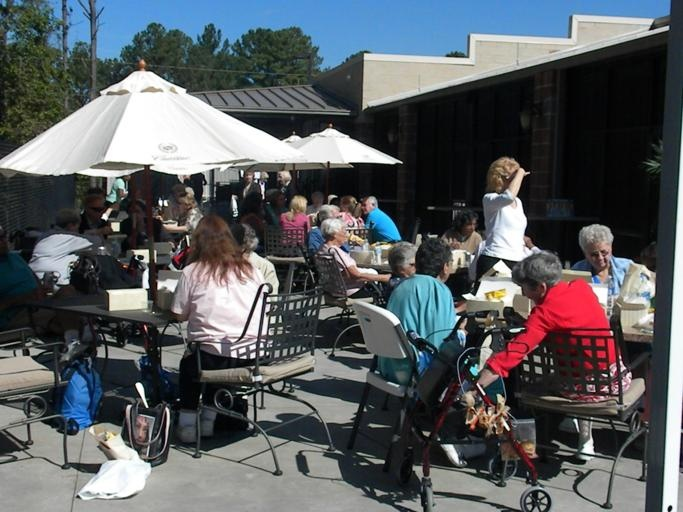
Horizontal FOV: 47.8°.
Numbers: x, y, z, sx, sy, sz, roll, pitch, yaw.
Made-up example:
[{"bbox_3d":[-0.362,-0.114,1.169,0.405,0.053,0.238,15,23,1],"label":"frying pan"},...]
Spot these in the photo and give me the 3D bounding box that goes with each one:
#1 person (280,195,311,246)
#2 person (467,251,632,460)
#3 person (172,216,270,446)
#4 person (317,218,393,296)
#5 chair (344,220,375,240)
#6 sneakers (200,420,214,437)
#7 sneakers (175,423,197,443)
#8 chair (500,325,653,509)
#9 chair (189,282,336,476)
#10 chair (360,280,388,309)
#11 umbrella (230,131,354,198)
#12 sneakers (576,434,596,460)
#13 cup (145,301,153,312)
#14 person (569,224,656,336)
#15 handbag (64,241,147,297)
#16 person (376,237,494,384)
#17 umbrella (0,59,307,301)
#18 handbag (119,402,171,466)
[{"bbox_3d":[-0.672,-0.485,11.142,0.385,0.767,0.468,4,-1,-6],"label":"person"},{"bbox_3d":[1.482,0.725,5.550,1.079,1.532,1.020,-5,7,13],"label":"person"},{"bbox_3d":[-0.920,0.585,5.841,0.680,1.726,0.493,-1,10,-7],"label":"person"},{"bbox_3d":[0.194,0.097,8.601,0.800,1.102,0.573,-5,10,-17],"label":"person"},{"bbox_3d":[0.258,-0.359,11.149,0.267,0.187,0.276,-4,7,-28],"label":"chair"},{"bbox_3d":[-1.028,1.341,5.972,0.104,0.115,0.113,3,16,-2],"label":"sneakers"},{"bbox_3d":[-1.171,1.368,5.872,0.135,0.135,0.137,2,5,17],"label":"sneakers"},{"bbox_3d":[1.679,0.944,5.599,0.883,1.613,1.070,3,12,35],"label":"chair"},{"bbox_3d":[-0.556,0.885,6.437,1.176,1.886,1.157,3,2,34],"label":"chair"},{"bbox_3d":[0.362,0.380,7.484,0.192,0.295,0.246,-4,9,-23],"label":"chair"},{"bbox_3d":[-0.599,-1.489,11.430,1.286,0.737,1.400,-6,12,10],"label":"umbrella"},{"bbox_3d":[1.788,1.421,5.660,0.140,0.176,0.147,-7,10,-17],"label":"sneakers"},{"bbox_3d":[-1.554,0.427,6.289,0.058,0.073,0.072,1,-2,-17],"label":"cup"},{"bbox_3d":[2.171,0.290,6.336,0.696,1.040,0.568,-9,12,11],"label":"person"},{"bbox_3d":[-2.261,0.142,7.475,0.580,0.304,0.481,5,9,-9],"label":"handbag"},{"bbox_3d":[0.634,0.399,5.721,0.576,1.042,0.501,19,27,37],"label":"person"},{"bbox_3d":[-1.773,-0.991,6.973,2.083,1.981,2.172,-3,6,-13],"label":"umbrella"},{"bbox_3d":[-1.394,1.303,5.538,0.353,0.516,0.261,2,-4,7],"label":"handbag"}]
